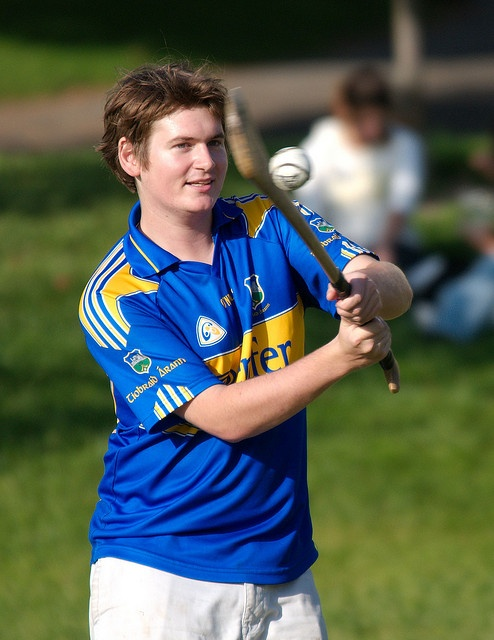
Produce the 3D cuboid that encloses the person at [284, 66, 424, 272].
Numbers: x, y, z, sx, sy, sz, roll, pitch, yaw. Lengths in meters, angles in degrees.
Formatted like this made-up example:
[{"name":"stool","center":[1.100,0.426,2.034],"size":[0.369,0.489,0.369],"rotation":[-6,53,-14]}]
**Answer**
[{"name":"person","center":[0.742,-1.067,6.862],"size":[1.119,2.079,1.054],"rotation":[-28,42,-29]}]
